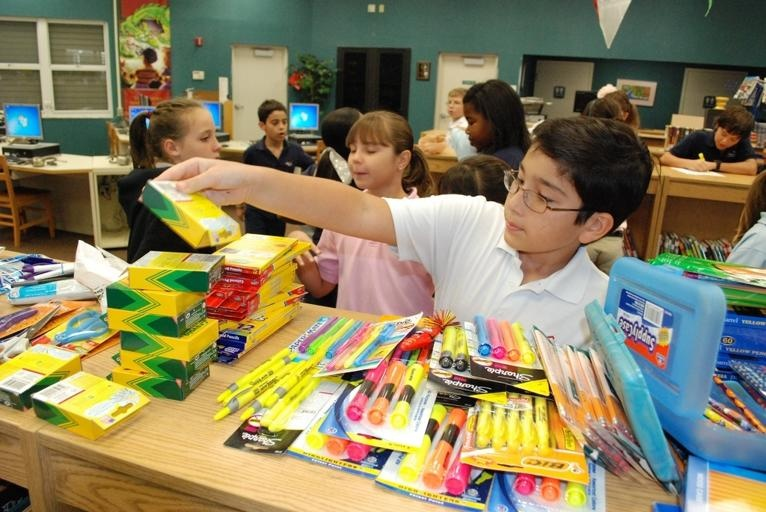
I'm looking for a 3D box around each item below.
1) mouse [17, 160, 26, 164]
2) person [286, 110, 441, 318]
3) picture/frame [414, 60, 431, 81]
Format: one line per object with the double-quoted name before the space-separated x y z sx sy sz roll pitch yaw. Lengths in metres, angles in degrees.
"mouse" -3.775 -0.987 5.213 0.057 0.015 0.063 17 19 26
"person" -0.045 -0.173 2.649 0.723 0.730 0.921 -26 -3 0
"picture/frame" 0.755 -3.526 9.416 0.379 0.443 0.076 2 11 14
